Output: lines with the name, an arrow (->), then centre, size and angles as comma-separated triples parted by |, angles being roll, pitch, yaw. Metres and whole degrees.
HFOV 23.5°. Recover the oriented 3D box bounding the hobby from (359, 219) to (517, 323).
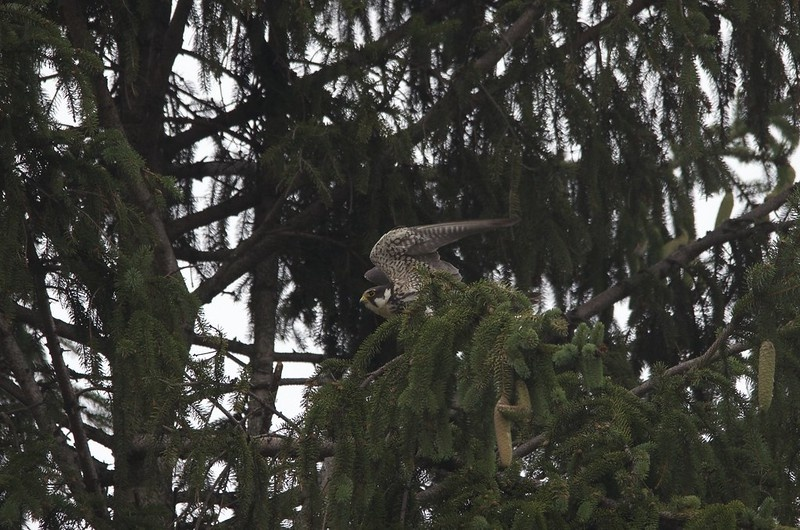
hobby -> 0.237, -0.089, 16.766 | 0.816, 0.479, 1.188 | -21, -27, -22
